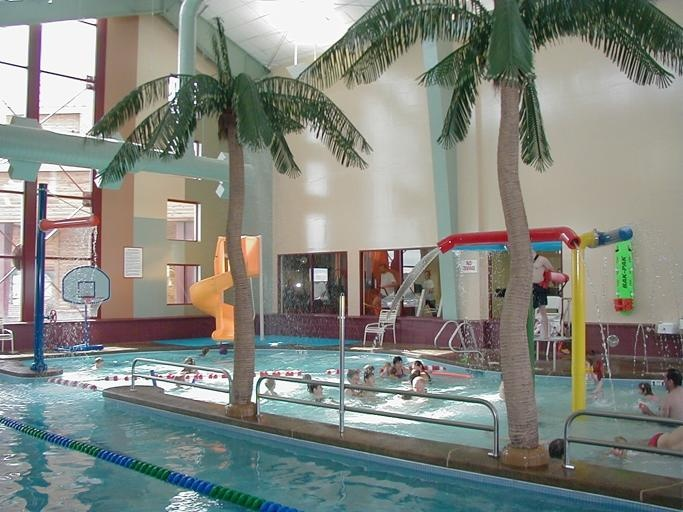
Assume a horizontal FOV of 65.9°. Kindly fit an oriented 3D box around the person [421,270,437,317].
[{"bbox_3d":[2.810,1.176,16.672,0.419,1.341,0.537,-1,-1,5],"label":"person"}]

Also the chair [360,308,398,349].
[{"bbox_3d":[1.175,2.132,15.592,1.053,1.070,2.406,-1,-1,2],"label":"chair"}]

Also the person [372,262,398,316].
[{"bbox_3d":[1.439,1.055,16.904,0.302,1.563,0.914,0,-2,-40],"label":"person"}]

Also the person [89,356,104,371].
[{"bbox_3d":[-5.970,2.601,12.819,0.245,0.271,0.875,0,-2,-27],"label":"person"}]

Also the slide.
[{"bbox_3d":[-3.672,1.290,16.707,2.295,3.731,2.505,-4,5,-3],"label":"slide"}]

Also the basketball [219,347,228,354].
[{"bbox_3d":[-3.256,2.623,14.553,0.200,0.205,0.241,0,-2,-22],"label":"basketball"}]
